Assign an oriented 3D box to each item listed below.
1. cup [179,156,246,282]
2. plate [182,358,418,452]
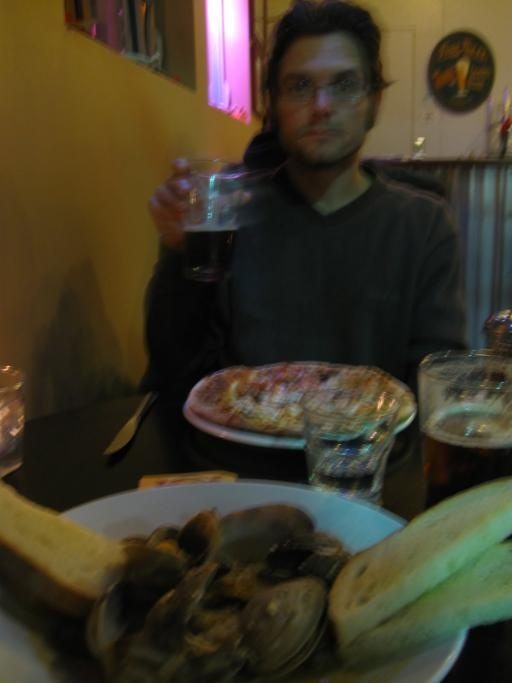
[{"bbox_3d":[-0.043,-0.141,0.701,0.062,0.127,0.151,0,20,4],"label":"cup"},{"bbox_3d":[0.018,0.034,0.499,0.111,0.023,0.097,-8,18,-27],"label":"plate"}]
